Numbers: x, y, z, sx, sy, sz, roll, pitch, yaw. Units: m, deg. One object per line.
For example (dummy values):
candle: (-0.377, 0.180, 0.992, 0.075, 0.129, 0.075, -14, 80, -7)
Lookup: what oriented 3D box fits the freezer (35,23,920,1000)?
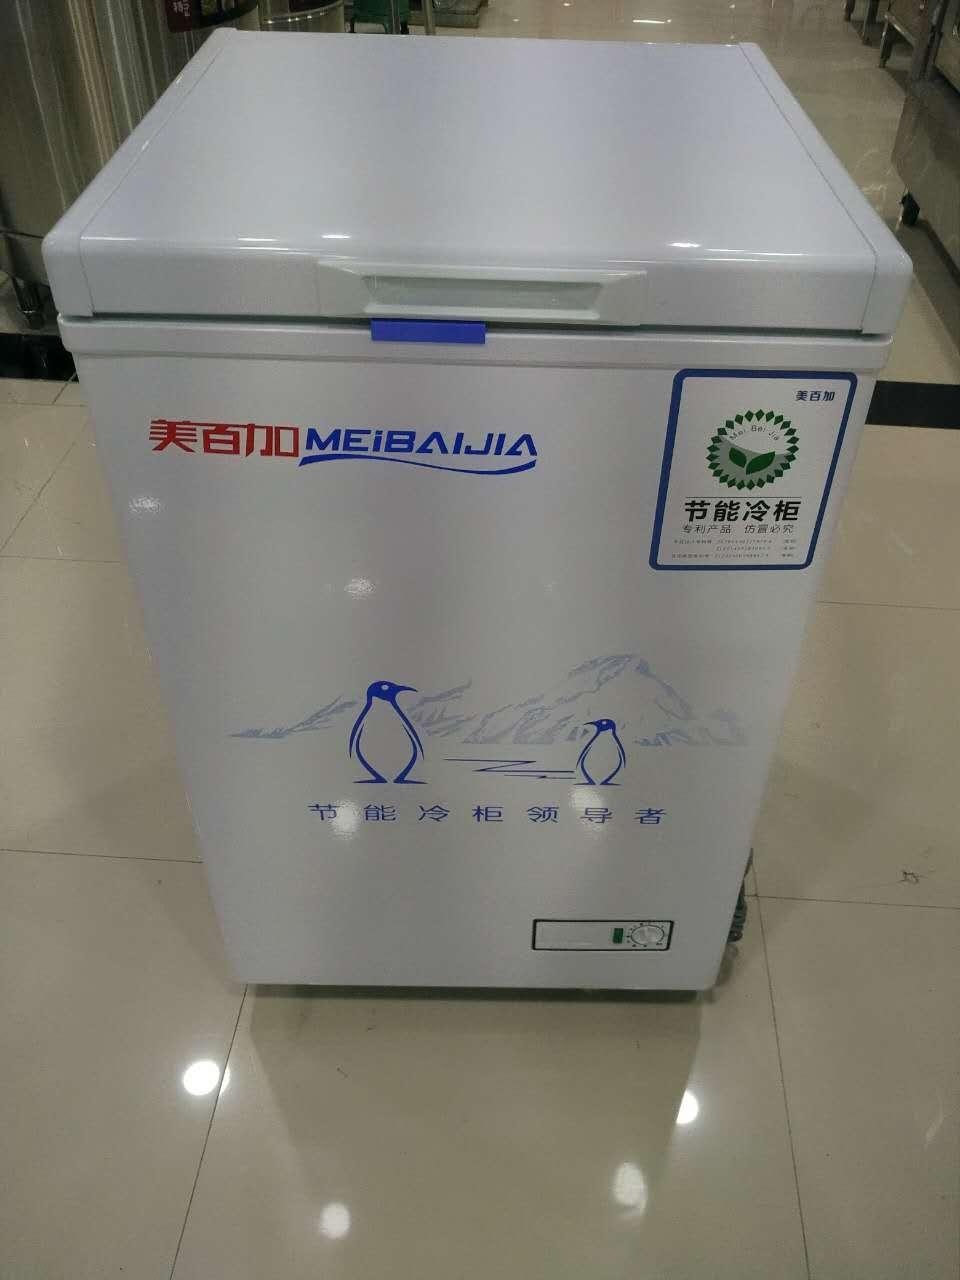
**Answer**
freezer: (0.008, -0.113, 1.231, 0.662, 0.920, 0.573, -2, 33, -3)
